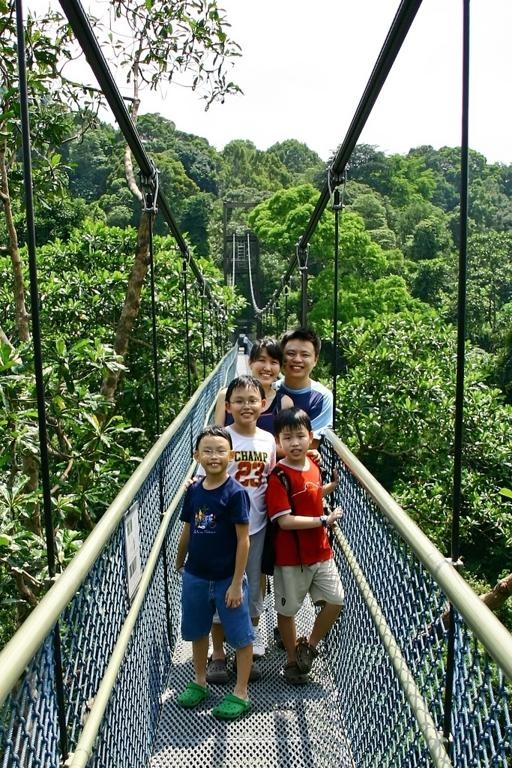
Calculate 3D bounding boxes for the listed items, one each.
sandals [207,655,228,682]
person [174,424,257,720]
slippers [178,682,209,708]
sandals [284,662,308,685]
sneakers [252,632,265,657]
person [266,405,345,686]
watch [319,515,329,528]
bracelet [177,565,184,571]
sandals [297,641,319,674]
[{"bbox_3d":[-0.153,1.127,2.210,0.072,0.085,0.203,1,-23,0],"label":"sandals"},{"bbox_3d":[-0.150,0.674,2.028,0.311,1.017,0.199,4,5,10],"label":"person"},{"bbox_3d":[-0.236,1.123,2.036,0.058,0.054,0.105,-1,1,20],"label":"slippers"},{"bbox_3d":[0.162,1.131,2.189,0.060,0.076,0.104,-1,8,-6],"label":"sandals"},{"bbox_3d":[0.015,1.126,2.437,0.058,0.082,0.185,-3,-12,1],"label":"sneakers"},{"bbox_3d":[0.197,0.649,2.254,0.332,1.090,0.265,3,5,2],"label":"person"},{"bbox_3d":[0.266,0.539,2.204,0.039,0.042,0.035,9,0,-12],"label":"watch"},{"bbox_3d":[-0.301,0.728,2.222,0.020,0.031,0.010,-1,-6,-18],"label":"bracelet"},{"bbox_3d":[0.195,1.053,2.174,0.061,0.159,0.053,-8,-31,14],"label":"sandals"}]
